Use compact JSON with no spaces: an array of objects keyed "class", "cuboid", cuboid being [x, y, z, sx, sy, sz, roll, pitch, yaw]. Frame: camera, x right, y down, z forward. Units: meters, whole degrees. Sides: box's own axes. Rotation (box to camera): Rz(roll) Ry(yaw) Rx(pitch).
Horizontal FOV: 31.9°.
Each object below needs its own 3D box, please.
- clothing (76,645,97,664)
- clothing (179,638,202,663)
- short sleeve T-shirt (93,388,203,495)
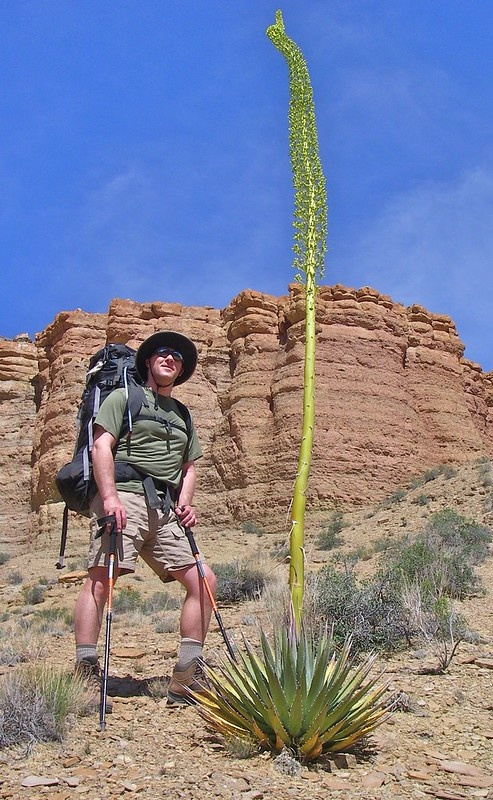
[{"class":"clothing","cuboid":[-0.875,1.398,4.700,0.106,0.109,0.106,1,-20,-13]},{"class":"clothing","cuboid":[-0.320,1.411,4.850,0.128,0.143,0.130,-6,-14,22]},{"class":"short sleeve T-shirt","cuboid":[-0.594,0.239,5.348,0.779,0.655,0.441,20,-31,-36]}]
